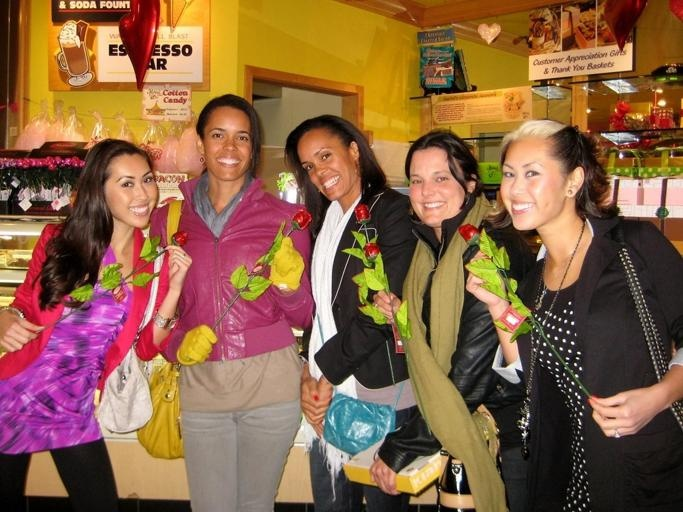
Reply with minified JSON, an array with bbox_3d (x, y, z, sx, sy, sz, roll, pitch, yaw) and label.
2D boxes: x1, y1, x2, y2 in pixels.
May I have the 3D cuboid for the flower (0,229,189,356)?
[{"bbox_3d":[-1.038,0.180,2.038,0.860,0.447,0.116,0,5,2],"label":"flower"}]

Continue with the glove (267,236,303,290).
[{"bbox_3d":[-0.222,0.021,1.987,0.136,0.217,0.087,1,2,-5],"label":"glove"}]

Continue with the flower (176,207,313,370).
[{"bbox_3d":[-0.426,0.137,2.031,0.166,0.718,0.104,33,-4,42],"label":"flower"}]

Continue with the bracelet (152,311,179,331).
[{"bbox_3d":[-0.744,0.279,2.058,0.070,0.048,0.075,-4,-35,26],"label":"bracelet"}]

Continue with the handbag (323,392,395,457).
[{"bbox_3d":[0.079,0.712,2.092,0.256,0.246,0.099,19,4,20],"label":"handbag"}]

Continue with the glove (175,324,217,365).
[{"bbox_3d":[-0.573,0.351,1.921,0.186,0.161,0.067,4,7,35],"label":"glove"}]
